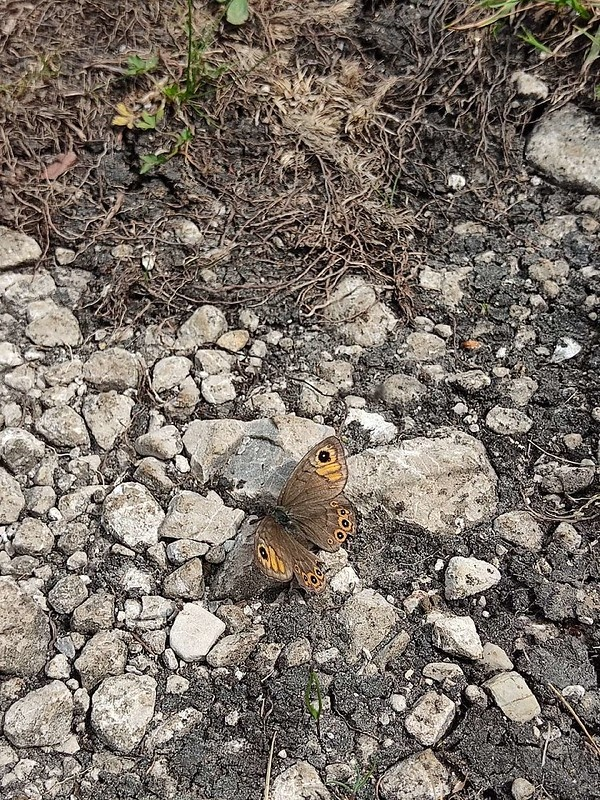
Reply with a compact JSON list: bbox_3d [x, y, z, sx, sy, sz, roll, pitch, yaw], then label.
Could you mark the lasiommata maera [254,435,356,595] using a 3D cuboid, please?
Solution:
[{"bbox_3d":[0.034,0.454,2.825,0.339,0.384,0.519,20,53,17],"label":"lasiommata maera"}]
